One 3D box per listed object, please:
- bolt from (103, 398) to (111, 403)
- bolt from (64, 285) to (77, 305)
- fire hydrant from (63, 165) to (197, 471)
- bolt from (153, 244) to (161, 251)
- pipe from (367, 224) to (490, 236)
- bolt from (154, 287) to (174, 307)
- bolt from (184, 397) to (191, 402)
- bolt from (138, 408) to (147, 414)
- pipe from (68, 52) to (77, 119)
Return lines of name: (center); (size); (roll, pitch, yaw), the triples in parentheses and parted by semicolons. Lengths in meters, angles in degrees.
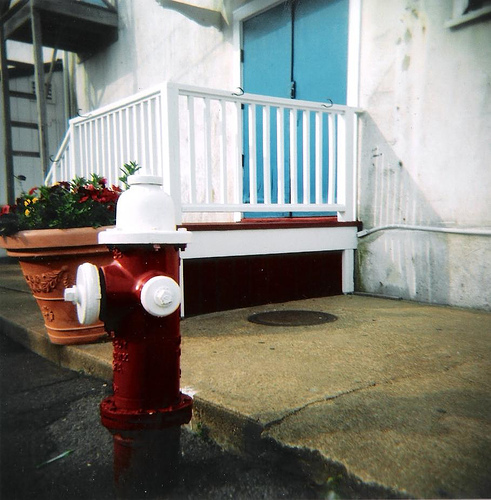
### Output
bolt: (-0.507, 0.548, 2.022); (0.018, 0.007, 0.019); (1, 3, 12)
bolt: (-0.627, 0.155, 1.976); (0.049, 0.081, 0.070); (0, -3, -27)
fire hydrant: (-0.403, 0.263, 1.970); (0.438, 1.101, 0.244); (-3, 6, -7)
bolt: (-0.309, -0.014, 1.928); (0.026, 0.020, 0.017); (-4, 6, -13)
pipe: (1.466, -0.157, 4.543); (0.056, 0.098, 1.198); (-6, 7, -33)
bolt: (-0.278, 0.159, 1.886); (0.068, 0.067, 0.019); (-4, 6, -14)
bolt: (-0.214, 0.543, 2.019); (0.015, 0.013, 0.009); (1, 3, 2)
bolt: (-0.363, 0.561, 1.941); (0.013, 0.008, 0.024); (3, 2, -6)
pipe: (-3.302, -3.149, 10.539); (0.118, 1.151, 0.686); (-4, 6, -18)
